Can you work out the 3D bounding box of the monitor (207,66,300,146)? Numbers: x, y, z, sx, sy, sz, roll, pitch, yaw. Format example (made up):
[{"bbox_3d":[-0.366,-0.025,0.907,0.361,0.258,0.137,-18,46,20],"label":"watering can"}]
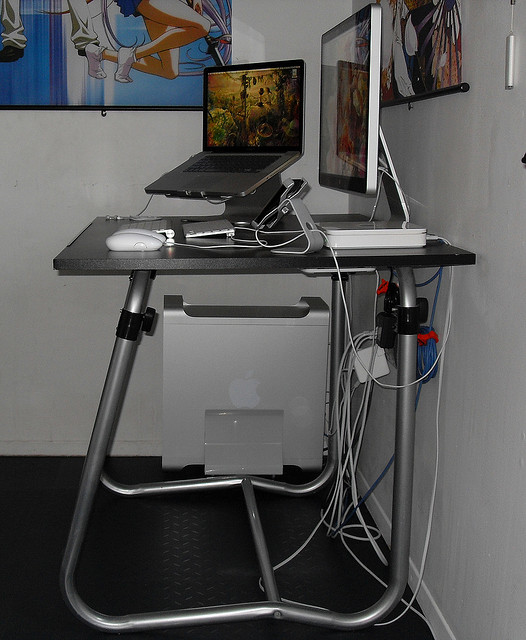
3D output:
[{"bbox_3d":[-0.030,-0.631,1.631,0.353,0.217,0.032,12,17,38],"label":"monitor"}]

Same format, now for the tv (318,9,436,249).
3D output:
[{"bbox_3d":[0.241,-0.431,1.218,0.217,0.464,0.614,1,15,4],"label":"tv"}]

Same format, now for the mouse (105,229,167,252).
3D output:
[{"bbox_3d":[-0.223,-0.150,1.010,0.089,0.033,0.132,2,16,7],"label":"mouse"}]

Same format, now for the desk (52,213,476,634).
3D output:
[{"bbox_3d":[-0.064,0.166,1.362,0.698,0.876,0.822,0,16,-6],"label":"desk"}]

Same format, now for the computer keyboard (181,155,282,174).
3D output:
[{"bbox_3d":[-0.090,-0.448,1.567,0.304,0.047,0.159,13,21,37],"label":"computer keyboard"}]

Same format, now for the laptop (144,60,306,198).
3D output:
[{"bbox_3d":[-0.089,-0.575,1.536,0.342,0.394,0.279,10,12,36],"label":"laptop"}]
